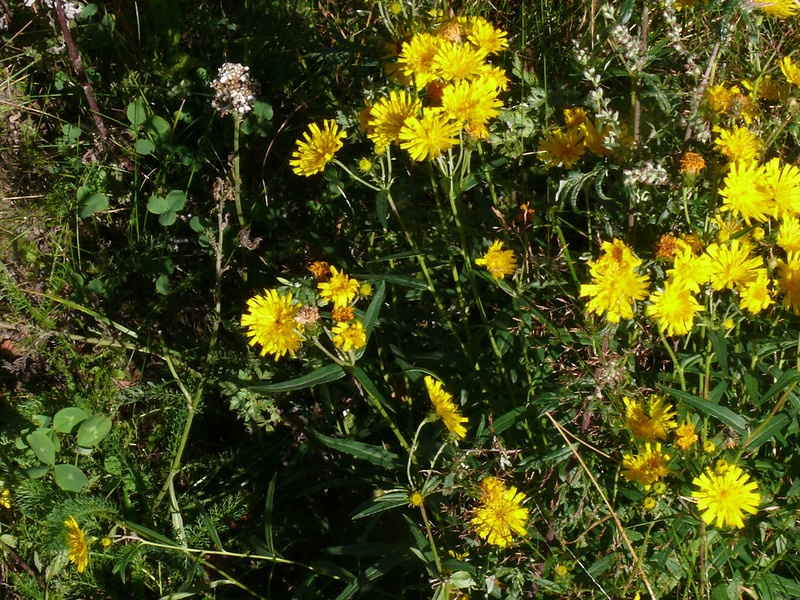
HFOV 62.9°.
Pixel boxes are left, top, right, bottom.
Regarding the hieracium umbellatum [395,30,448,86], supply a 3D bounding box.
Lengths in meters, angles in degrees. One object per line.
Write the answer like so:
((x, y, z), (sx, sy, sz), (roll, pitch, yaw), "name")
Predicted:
((0.082, -0.764, 2.089), (0.152, 0.086, 0.185), (-21, 53, -11), "hieracium umbellatum")

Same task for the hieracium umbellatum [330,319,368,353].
((-0.163, 0.121, 2.056), (0.099, 0.046, 0.101), (-19, 87, -16), "hieracium umbellatum")

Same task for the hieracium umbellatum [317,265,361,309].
((-0.202, -0.048, 2.161), (0.121, 0.127, 0.159), (0, 52, 5), "hieracium umbellatum")

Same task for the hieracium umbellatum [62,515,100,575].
((-1.130, 0.868, 2.288), (0.052, 0.178, 0.179), (-16, 94, 6), "hieracium umbellatum")

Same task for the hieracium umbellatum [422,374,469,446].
((0.131, 0.330, 2.077), (0.093, 0.191, 0.203), (-25, 25, -8), "hieracium umbellatum")
